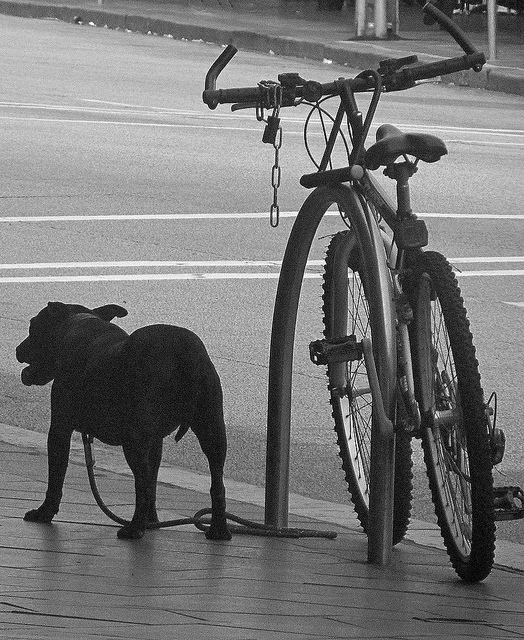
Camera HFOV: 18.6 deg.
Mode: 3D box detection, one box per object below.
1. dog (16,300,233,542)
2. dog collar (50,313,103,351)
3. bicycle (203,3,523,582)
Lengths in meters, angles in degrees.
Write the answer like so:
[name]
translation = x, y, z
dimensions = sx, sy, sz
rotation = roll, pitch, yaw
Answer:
[dog]
translation = -0.443, 0.273, 4.602
dimensions = 0.388, 0.679, 0.769
rotation = 8, -7, -44
[dog collar]
translation = -0.555, 0.041, 4.731
dimensions = 0.137, 0.112, 0.090
rotation = -3, 12, -14
[bicycle]
translation = 0.171, -0.013, 4.906
dimensions = 0.665, 1.467, 1.768
rotation = -6, 11, -15
